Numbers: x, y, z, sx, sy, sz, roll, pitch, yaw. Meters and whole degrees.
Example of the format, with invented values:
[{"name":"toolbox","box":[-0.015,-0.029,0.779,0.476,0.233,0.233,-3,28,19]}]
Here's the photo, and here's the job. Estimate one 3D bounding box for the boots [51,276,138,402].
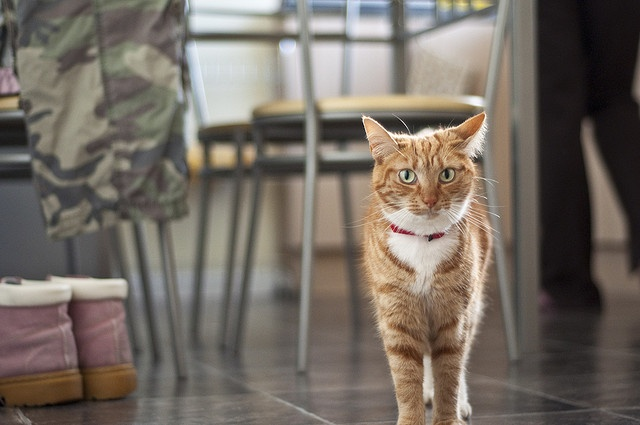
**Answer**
[{"name":"boots","box":[-0.679,0.344,2.302,0.179,0.332,0.494,5,-14,-43]}]
